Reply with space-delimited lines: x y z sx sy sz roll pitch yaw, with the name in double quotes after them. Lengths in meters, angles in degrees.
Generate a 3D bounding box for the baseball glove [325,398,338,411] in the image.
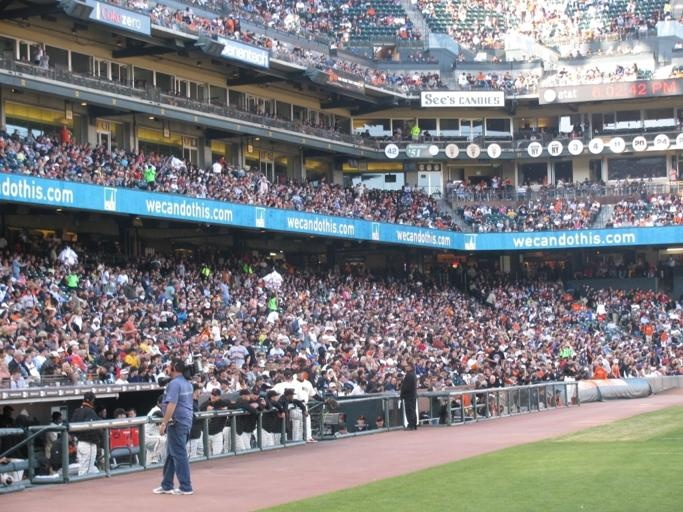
-0.257 4.827 56.482 0.444 0.410 0.316 -12 18 -42 "baseball glove"

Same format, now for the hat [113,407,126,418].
-6.802 4.804 53.059 0.347 0.443 0.282 -5 2 -23 "hat"

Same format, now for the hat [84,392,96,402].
-7.569 4.202 51.654 0.241 0.316 0.319 10 13 22 "hat"
